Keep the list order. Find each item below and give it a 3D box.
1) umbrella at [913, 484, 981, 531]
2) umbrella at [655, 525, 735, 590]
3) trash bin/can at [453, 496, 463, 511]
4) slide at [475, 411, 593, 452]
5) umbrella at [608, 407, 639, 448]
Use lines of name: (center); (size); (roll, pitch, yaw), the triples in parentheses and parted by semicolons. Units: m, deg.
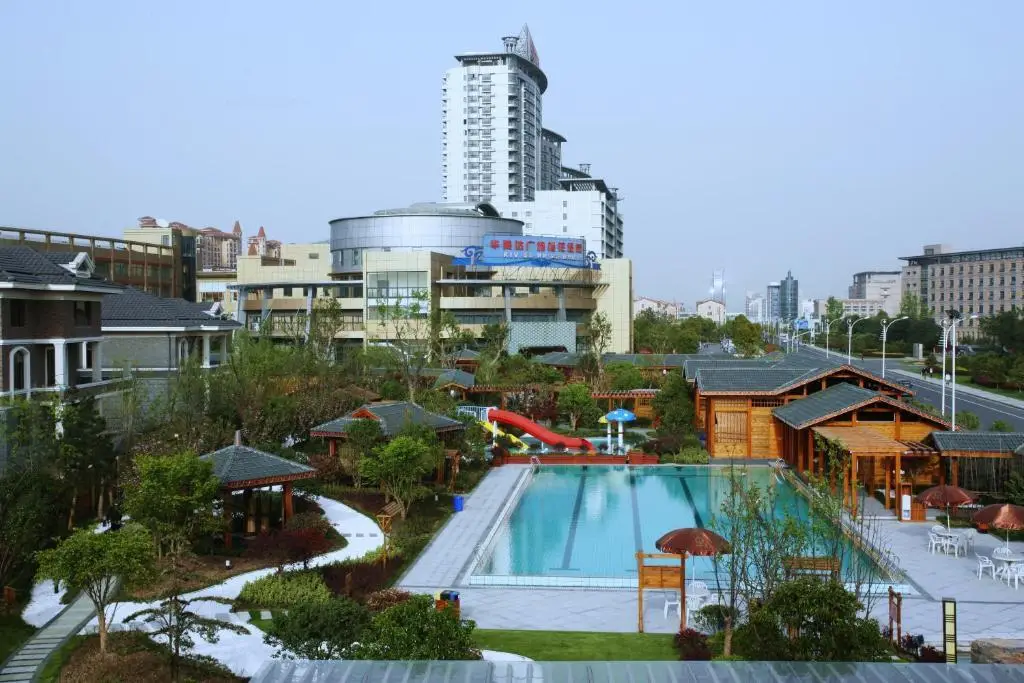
umbrella: (16.275, 6.308, 39.412); (1.788, 1.656, 1.847); (-5, -5, 24)
umbrella: (5.688, 6.687, 32.755); (1.794, 1.938, 1.803); (0, -6, -7)
trash bin/can: (-2.128, 6.554, 43.069); (0.443, 0.534, 0.456); (0, -2, -1)
slide: (1.146, 4.445, 55.243); (5.149, 1.953, 3.393); (0, 2, -1)
umbrella: (5.755, 4.552, 56.287); (1.781, 2.175, 1.843); (2, 4, 13)
